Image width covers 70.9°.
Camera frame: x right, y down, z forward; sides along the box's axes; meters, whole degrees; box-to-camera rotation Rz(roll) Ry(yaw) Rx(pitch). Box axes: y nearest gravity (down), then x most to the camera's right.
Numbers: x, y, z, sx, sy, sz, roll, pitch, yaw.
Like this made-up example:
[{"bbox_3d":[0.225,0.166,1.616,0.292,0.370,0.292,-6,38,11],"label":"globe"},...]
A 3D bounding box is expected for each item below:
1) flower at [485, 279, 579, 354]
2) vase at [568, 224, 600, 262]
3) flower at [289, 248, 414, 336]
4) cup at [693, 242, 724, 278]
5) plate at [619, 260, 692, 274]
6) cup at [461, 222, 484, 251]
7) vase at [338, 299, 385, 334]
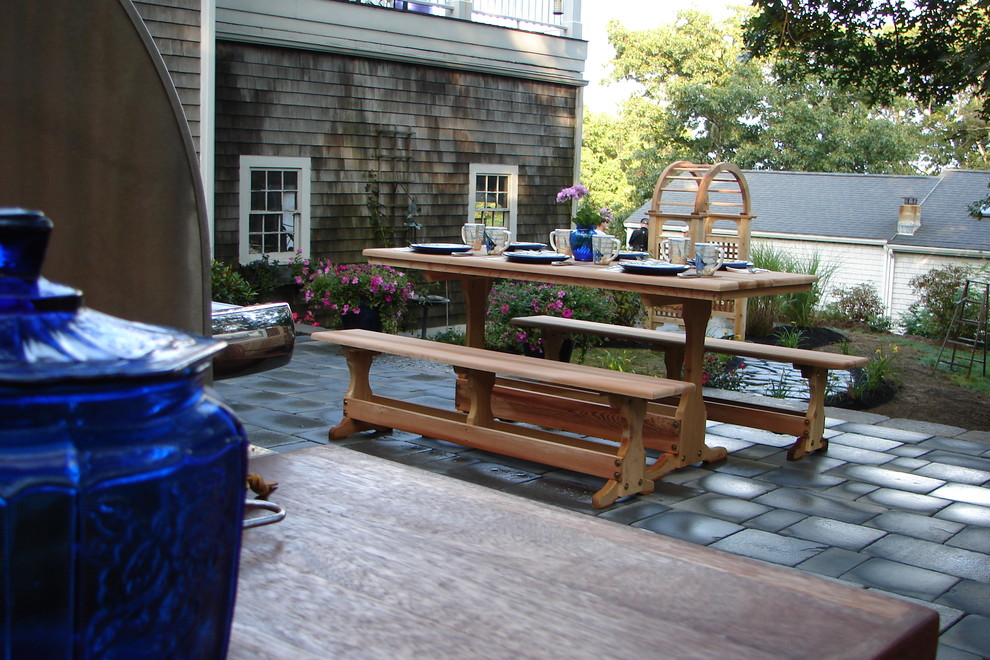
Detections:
[{"bbox_3d":[0.391,-0.185,8.948,1.111,0.879,0.569,5,-2,-14],"label":"flower"},{"bbox_3d":[0.707,-0.702,5.519,0.278,0.265,0.267,1,5,24],"label":"vase"},{"bbox_3d":[-2.019,-0.488,9.903,1.805,1.014,1.182,1,1,-15],"label":"flower"},{"bbox_3d":[1.478,-0.492,4.784,0.121,0.207,0.421,6,3,29],"label":"cup"},{"bbox_3d":[1.086,-0.441,4.780,0.433,0.094,0.318,4,2,7],"label":"plate"},{"bbox_3d":[-0.162,-0.849,6.115,0.256,0.240,0.249,0,4,0],"label":"cup"},{"bbox_3d":[-1.867,-0.181,9.608,0.537,0.447,0.480,0,3,35],"label":"vase"}]
